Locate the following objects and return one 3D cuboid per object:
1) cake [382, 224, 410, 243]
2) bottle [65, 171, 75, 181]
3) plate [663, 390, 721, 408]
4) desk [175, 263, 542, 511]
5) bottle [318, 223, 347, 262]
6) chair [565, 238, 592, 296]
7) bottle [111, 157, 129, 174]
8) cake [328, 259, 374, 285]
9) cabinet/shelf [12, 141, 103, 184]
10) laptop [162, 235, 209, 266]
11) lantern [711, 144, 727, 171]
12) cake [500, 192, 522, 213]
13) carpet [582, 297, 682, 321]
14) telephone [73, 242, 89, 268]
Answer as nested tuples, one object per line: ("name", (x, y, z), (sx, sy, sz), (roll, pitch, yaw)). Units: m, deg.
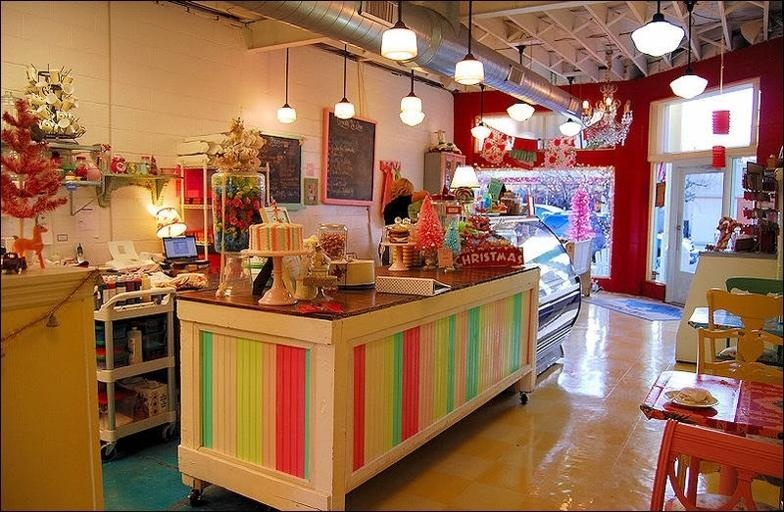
("cake", (0.045, -0.208, 4.894), (0.245, 0.174, 0.273), (-2, 7, 2))
("bottle", (-3.018, -0.749, 5.243), (0.094, 0.082, 0.093), (-3, -2, 34))
("plate", (1.732, 0.810, 3.240), (0.263, 0.087, 0.174), (1, 7, 26))
("desk", (-0.116, 0.852, 4.185), (2.617, 1.314, 1.009), (-7, 9, -38))
("bottle", (-0.417, -0.126, 4.362), (0.270, 0.340, 0.256), (-1, 3, 0))
("chair", (2.965, 0.153, 8.902), (0.476, 0.757, 1.135), (0, 3, 28))
("bottle", (-2.778, -0.922, 5.694), (0.135, 0.177, 0.186), (-2, 7, -1))
("cake", (-0.320, 0.105, 4.195), (0.228, 0.101, 0.225), (3, 5, 34))
("cabinet/shelf", (-2.999, -0.881, 5.332), (0.434, 0.394, 0.599), (2, 8, 32))
("laptop", (-2.178, -0.064, 5.875), (0.260, 0.338, 0.426), (-5, -4, 44))
("lantern", (5.310, -1.613, 9.105), (0.191, 0.374, 0.313), (3, 9, 33))
("cake", (1.433, -0.615, 6.604), (0.276, 0.261, 0.268), (0, 4, 28))
("carpet", (4.187, 0.867, 9.560), (1.355, 0.073, 2.196), (-2, 6, -1))
("telephone", (-2.918, -0.018, 5.229), (0.093, 0.237, 0.071), (-24, -13, 40))
